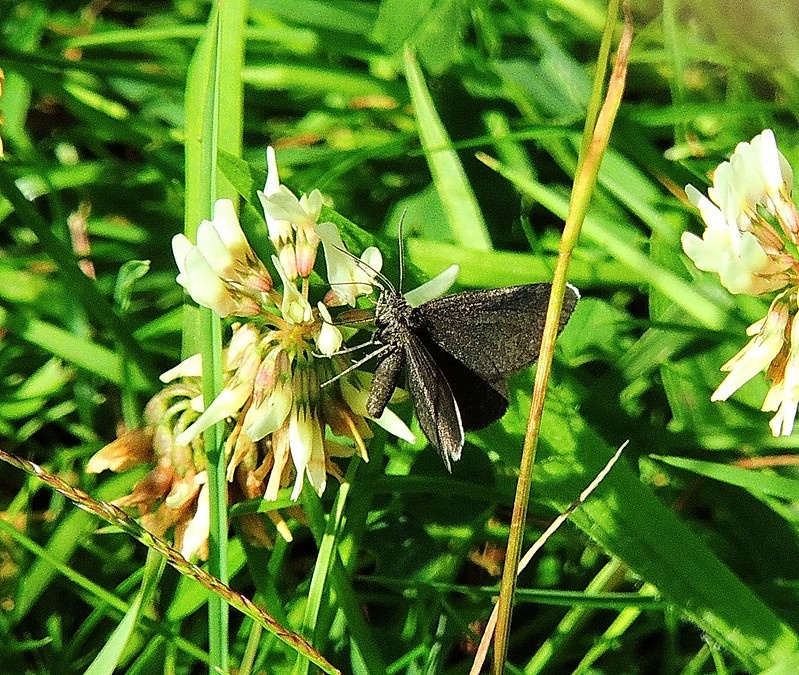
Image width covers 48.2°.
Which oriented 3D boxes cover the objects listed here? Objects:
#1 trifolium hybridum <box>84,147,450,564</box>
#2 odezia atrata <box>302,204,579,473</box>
[{"bbox_3d":[-0.108,0.059,1.211,0.473,0.180,0.491,7,71,29],"label":"trifolium hybridum"},{"bbox_3d":[0.028,0.023,1.105,0.237,0.151,0.319,25,38,33],"label":"odezia atrata"}]
